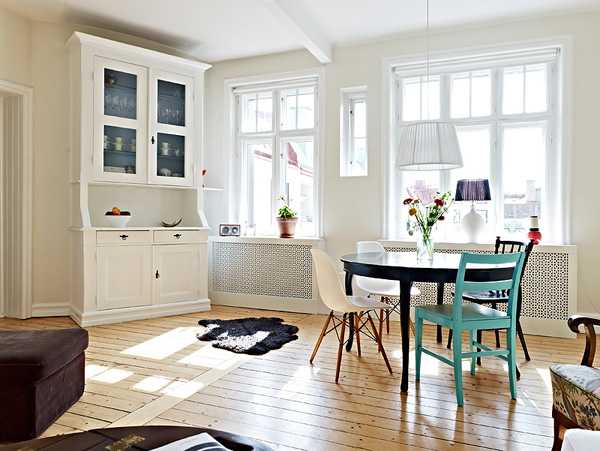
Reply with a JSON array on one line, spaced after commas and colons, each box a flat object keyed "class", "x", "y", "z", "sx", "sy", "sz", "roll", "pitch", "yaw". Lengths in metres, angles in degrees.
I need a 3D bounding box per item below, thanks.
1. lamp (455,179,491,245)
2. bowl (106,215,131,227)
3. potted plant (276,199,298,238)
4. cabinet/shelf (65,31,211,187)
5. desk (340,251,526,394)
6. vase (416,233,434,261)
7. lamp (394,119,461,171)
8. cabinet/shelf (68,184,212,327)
[{"class": "lamp", "x": 1.825, "y": -0.160, "z": 4.788, "sx": 0.334, "sy": 0.669, "sz": 0.353, "roll": 3, "pitch": 8, "yaw": 19}, {"class": "bowl", "x": -2.013, "y": -0.056, "z": 5.003, "sx": 0.242, "sy": 0.134, "sz": 0.136, "roll": -2, "pitch": 7, "yaw": -22}, {"class": "potted plant", "x": -0.153, "y": -0.108, "z": 5.598, "sx": 0.261, "sy": 0.480, "sz": 0.459, "roll": 0, "pitch": 7, "yaw": -2}, {"class": "cabinet/shelf", "x": -1.870, "y": -1.291, "z": 5.069, "sx": 1.884, "sy": 1.819, "sz": 0.650, "roll": 1, "pitch": -1, "yaw": -36}, {"class": "desk", "x": 1.059, "y": 0.589, "z": 3.527, "sx": 1.126, "sy": 0.696, "sz": 1.150, "roll": 1, "pitch": 0, "yaw": -27}, {"class": "vase", "x": 1.058, "y": 0.191, "z": 3.787, "sx": 0.178, "sy": 0.202, "sz": 0.182, "roll": 0, "pitch": -4, "yaw": -4}, {"class": "lamp", "x": 1.069, "y": -0.630, "z": 3.746, "sx": 0.471, "sy": 0.288, "sz": 0.475, "roll": -1, "pitch": -3, "yaw": 28}, {"class": "cabinet/shelf", "x": -1.830, "y": 0.379, "z": 5.042, "sx": 1.577, "sy": 1.644, "sz": 0.648, "roll": 0, "pitch": -1, "yaw": -39}]
